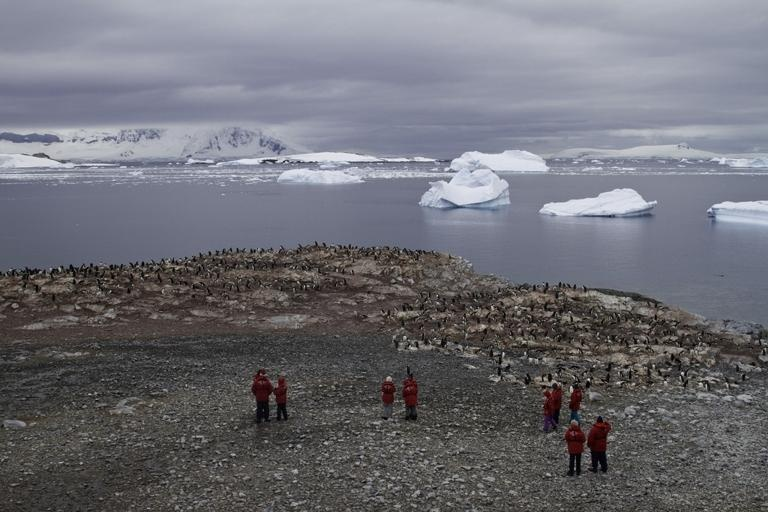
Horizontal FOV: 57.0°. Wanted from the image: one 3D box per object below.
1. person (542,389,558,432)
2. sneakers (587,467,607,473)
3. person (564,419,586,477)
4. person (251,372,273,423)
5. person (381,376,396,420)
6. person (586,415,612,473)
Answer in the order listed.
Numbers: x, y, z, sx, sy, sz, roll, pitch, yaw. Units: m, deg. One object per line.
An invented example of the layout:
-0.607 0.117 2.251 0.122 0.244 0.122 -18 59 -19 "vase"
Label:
7.145 6.759 30.620 0.587 1.773 0.742 -2 12 10 "person"
8.608 8.688 28.425 0.848 0.204 0.207 -4 9 -2 "sneakers"
7.601 7.637 28.166 0.722 2.404 0.666 -2 12 10 "person"
-5.220 6.004 30.375 0.859 2.399 0.976 -6 12 -8 "person"
0.131 6.140 30.785 0.557 2.120 1.053 -5 11 -2 "person"
8.631 7.547 28.473 0.820 2.395 0.944 -2 12 13 "person"
